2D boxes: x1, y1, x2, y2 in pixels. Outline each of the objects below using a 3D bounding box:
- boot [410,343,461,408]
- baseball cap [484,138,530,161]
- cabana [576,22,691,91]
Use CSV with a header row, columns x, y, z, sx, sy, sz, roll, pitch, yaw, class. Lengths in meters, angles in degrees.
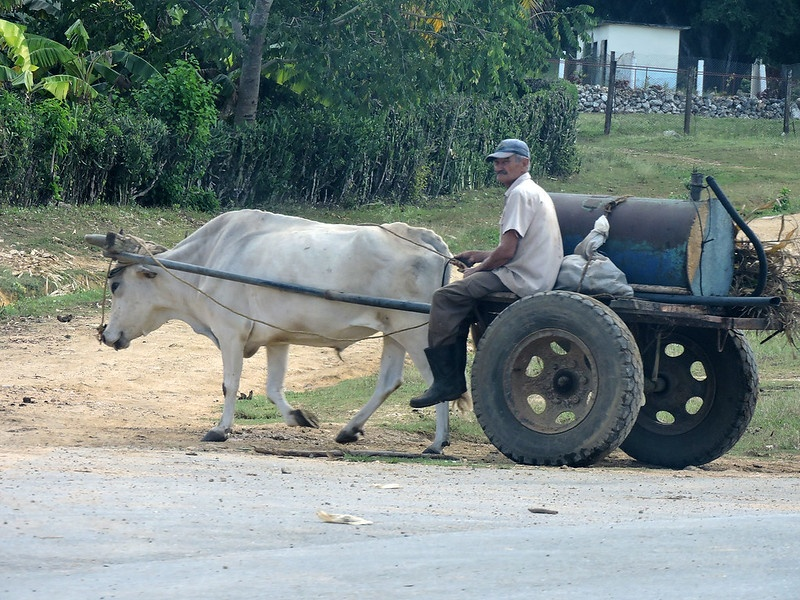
x,y,z,sx,sy,sz,roll,pitch,yaw,class
0.497,0.874,18.001,0.966,0.739,0.446,-3,6,6,boot
1.233,-1.737,18.214,0.414,0.169,0.259,7,-2,-11,baseball cap
7.763,-8.368,53.524,3.313,2.410,5.250,1,4,6,cabana
